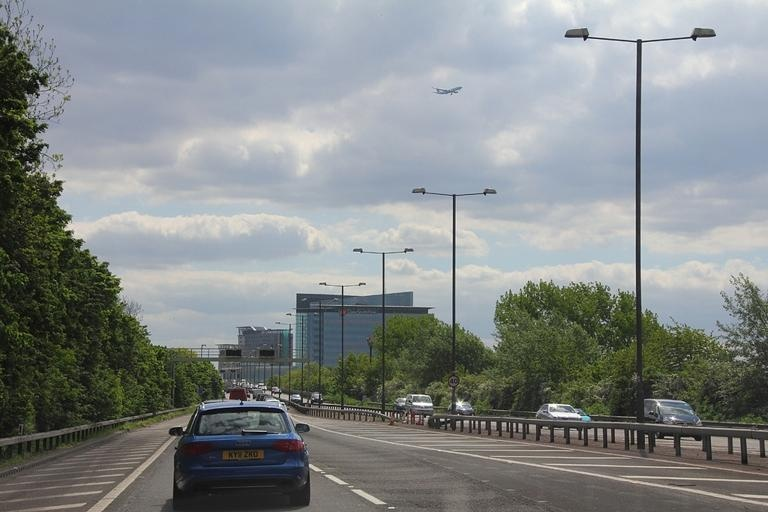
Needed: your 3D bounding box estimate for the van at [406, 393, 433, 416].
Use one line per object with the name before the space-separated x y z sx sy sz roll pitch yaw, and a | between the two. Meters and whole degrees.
van | 2.893 11.749 87.281 1.396 1.470 2.645 1 -15 -10
